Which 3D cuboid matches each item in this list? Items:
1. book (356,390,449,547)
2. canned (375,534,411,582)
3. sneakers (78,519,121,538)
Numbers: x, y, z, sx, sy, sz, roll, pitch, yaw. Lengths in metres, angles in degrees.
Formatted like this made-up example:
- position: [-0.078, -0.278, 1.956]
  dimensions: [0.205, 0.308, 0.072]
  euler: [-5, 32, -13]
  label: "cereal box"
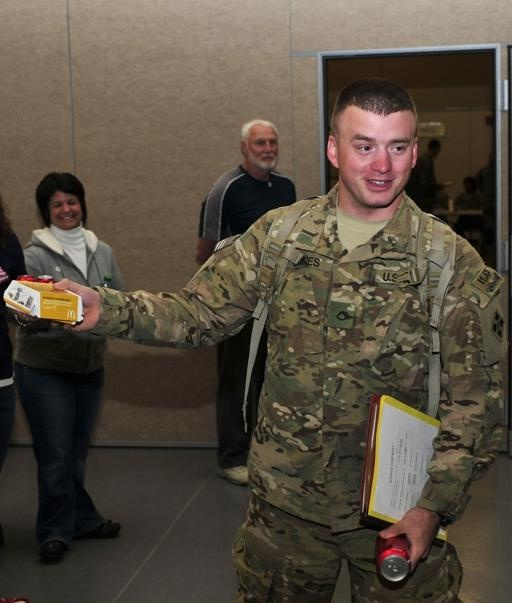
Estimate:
- position: [0.261, 0.302, 1.123]
  dimensions: [0.289, 0.242, 0.070]
  euler: [24, -27, -38]
  label: "book"
- position: [0.224, 0.418, 0.999]
  dimensions: [0.052, 0.042, 0.082]
  euler: [0, 5, 11]
  label: "canned"
- position: [-0.776, 1.168, 3.153]
  dimensions: [0.247, 0.078, 0.073]
  euler: [2, -2, -5]
  label: "sneakers"
